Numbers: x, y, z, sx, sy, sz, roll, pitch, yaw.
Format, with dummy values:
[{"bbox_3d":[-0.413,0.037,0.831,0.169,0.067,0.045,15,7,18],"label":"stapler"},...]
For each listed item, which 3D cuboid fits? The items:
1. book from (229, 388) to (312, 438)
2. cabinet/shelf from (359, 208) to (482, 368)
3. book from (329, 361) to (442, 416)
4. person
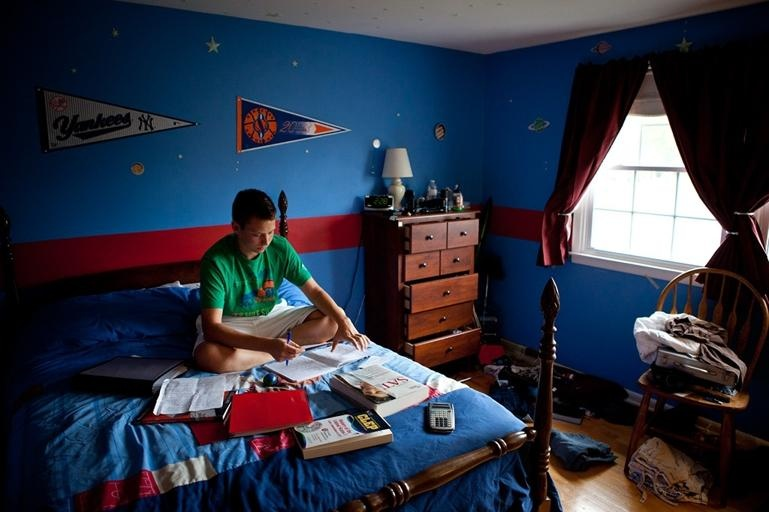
[{"bbox_3d":[-0.582,0.782,2.599,0.238,0.050,0.239,-2,14,-21],"label":"book"},{"bbox_3d":[0.344,0.283,4.601,0.973,1.405,0.803,-9,15,-42],"label":"cabinet/shelf"},{"bbox_3d":[-0.004,0.701,2.763,0.280,0.068,0.286,-6,14,-42],"label":"book"},{"bbox_3d":[-0.647,0.144,3.190,1.014,1.048,0.919,-2,15,-18],"label":"person"}]
